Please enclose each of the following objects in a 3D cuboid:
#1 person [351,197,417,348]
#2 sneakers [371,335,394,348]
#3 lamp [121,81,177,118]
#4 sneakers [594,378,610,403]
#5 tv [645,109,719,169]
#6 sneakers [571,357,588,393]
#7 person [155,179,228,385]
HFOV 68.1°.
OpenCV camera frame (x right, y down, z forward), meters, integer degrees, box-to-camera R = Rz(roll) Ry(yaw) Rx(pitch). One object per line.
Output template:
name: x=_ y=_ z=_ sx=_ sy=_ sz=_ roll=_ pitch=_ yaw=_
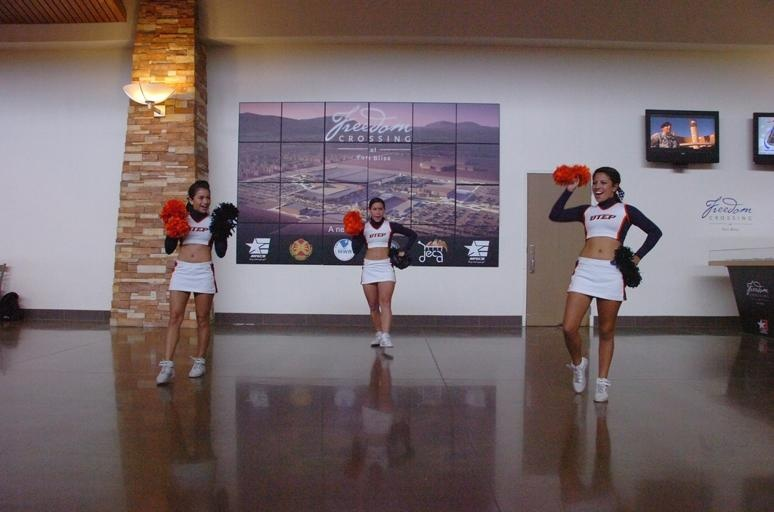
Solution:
person: x=-0.109 y=0.277 z=8.626 sx=0.788 sy=2.271 sz=0.776 roll=8 pitch=14 yaw=30
sneakers: x=-0.083 y=1.272 z=8.555 sx=0.162 sy=0.155 sz=0.405 roll=2 pitch=-10 yaw=-18
lamp: x=-4.077 y=-2.769 z=9.841 sx=0.695 sy=0.301 sz=0.694 roll=-7 pitch=-9 yaw=39
sneakers: x=2.428 y=1.542 z=6.492 sx=0.148 sy=0.140 sz=0.376 roll=0 pitch=-2 yaw=14
tv: x=5.384 y=-2.182 z=10.486 sx=1.181 sy=0.895 sz=0.126 roll=1 pitch=0 yaw=-2
sneakers: x=2.283 y=1.422 z=6.800 sx=0.166 sy=0.459 sz=0.204 roll=-4 pitch=-14 yaw=35
person: x=-2.415 y=0.312 z=7.092 sx=0.855 sy=2.431 sz=1.001 roll=-3 pitch=13 yaw=-15
